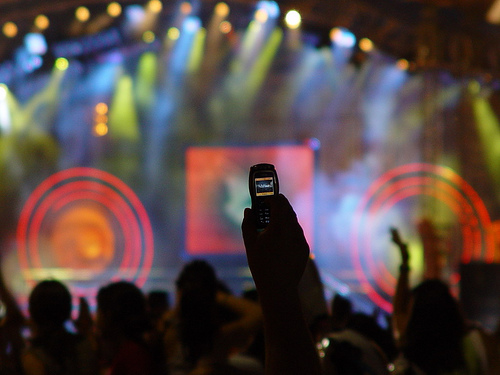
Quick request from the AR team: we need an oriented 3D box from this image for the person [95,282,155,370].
[{"bbox_3d":[-1.045,1.153,4.763,0.377,0.711,0.626,-6,-8,34],"label":"person"}]
